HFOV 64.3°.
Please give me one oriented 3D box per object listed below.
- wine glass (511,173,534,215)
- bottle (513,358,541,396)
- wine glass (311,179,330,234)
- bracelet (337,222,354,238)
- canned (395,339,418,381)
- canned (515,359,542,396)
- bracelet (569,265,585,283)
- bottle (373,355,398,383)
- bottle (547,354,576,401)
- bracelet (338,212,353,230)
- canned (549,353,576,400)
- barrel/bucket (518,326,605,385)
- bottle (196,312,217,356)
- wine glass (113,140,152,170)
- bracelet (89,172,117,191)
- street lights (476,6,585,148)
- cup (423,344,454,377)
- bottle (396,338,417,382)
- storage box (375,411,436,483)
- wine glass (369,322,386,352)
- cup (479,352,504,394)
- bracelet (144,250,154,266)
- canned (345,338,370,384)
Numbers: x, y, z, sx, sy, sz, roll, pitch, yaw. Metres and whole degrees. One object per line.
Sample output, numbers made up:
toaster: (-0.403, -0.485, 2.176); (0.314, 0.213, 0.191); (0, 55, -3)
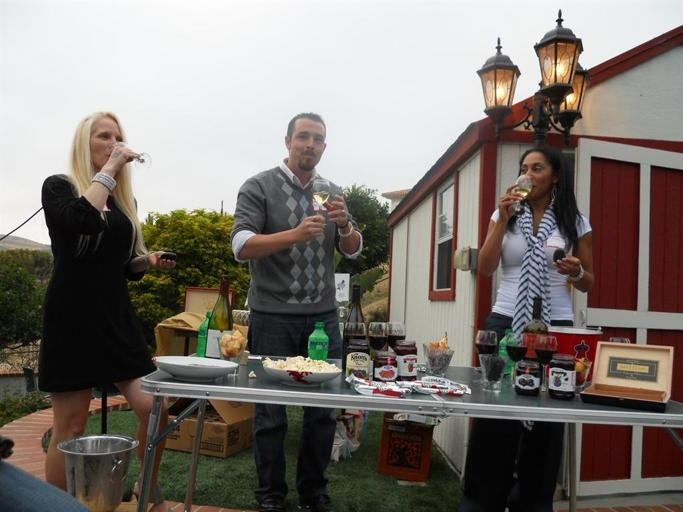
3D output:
wine glass: (1.185, -0.409, 3.554); (0.126, 0.256, 0.315); (0, -7, 19)
bottle: (0.971, 0.614, 2.823); (0.135, 0.182, 0.159); (1, 16, 18)
wine glass: (-0.124, -0.295, 3.220); (0.091, 0.189, 0.066); (1, -6, -4)
bracelet: (0.029, -0.183, 3.637); (0.080, 0.040, 0.099); (-27, 10, 21)
canned: (0.349, 0.578, 2.955); (0.133, 0.233, 0.127); (3, -7, -18)
canned: (0.928, 0.615, 2.769); (0.154, 0.192, 0.138); (-1, -2, 15)
bracelet: (1.470, 0.128, 3.392); (0.045, 0.112, 0.127); (25, -48, -4)
bottle: (0.229, 0.591, 2.863); (0.120, 0.130, 0.129); (1, -6, -1)
bottle: (1.135, 0.617, 2.784); (0.118, 0.225, 0.148); (1, 0, -37)
bracelet: (0.019, -0.219, 3.536); (0.082, 0.119, 0.050); (-14, 5, -32)
canned: (1.135, 0.622, 2.779); (0.116, 0.221, 0.149); (8, -7, -37)
barrel/bucket: (1.231, 0.540, 3.019); (0.349, 0.280, 0.334); (1, -7, 0)
bottle: (-0.784, 0.441, 3.112); (0.081, 0.244, 0.281); (4, -7, -13)
wine glass: (-1.187, -0.562, 3.122); (0.214, 0.096, 0.094); (39, 1, -16)
bracelet: (-1.333, -0.398, 3.039); (0.102, 0.074, 0.107); (-4, -22, 35)
street lights: (1.683, -1.558, 4.780); (0.883, 1.343, 0.610); (-1, -7, 25)
cup: (0.547, 0.590, 3.105); (0.167, 0.148, 0.173); (1, -6, 0)
bottle: (0.353, 0.572, 2.958); (0.126, 0.236, 0.142); (1, -3, -8)
storage box: (0.614, 1.664, 4.770); (0.469, 0.669, 0.380); (-3, -31, 26)
wine glass: (0.203, 0.455, 3.093); (0.108, 0.160, 0.232); (2, -7, 3)
cup: (0.784, 0.611, 2.877); (0.164, 0.204, 0.175); (3, -13, 1)
bracelet: (-1.211, 0.005, 3.391); (0.059, 0.075, 0.077); (0, -27, -32)
canned: (0.096, 0.560, 2.952); (0.133, 0.230, 0.132); (3, 3, -13)
